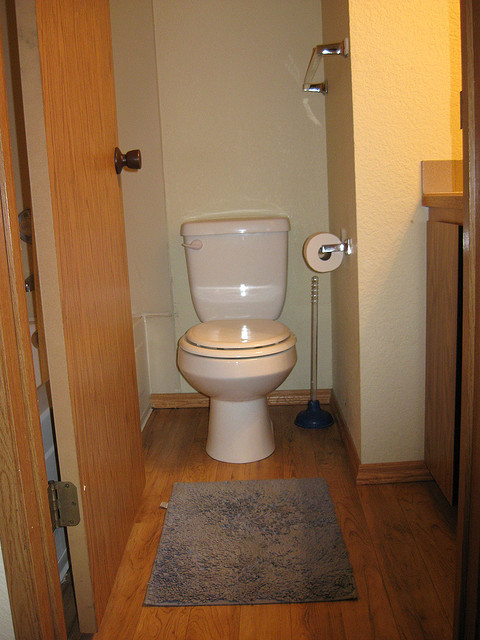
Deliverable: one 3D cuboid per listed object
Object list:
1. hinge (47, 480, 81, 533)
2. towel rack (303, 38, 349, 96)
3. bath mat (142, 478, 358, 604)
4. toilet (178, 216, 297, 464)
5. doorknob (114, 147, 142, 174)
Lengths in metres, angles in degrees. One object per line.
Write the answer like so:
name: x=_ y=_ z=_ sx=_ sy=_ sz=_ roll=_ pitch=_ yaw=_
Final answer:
hinge: x=-0.313 y=0.321 z=0.884 sx=0.059 sy=0.090 sz=0.017 roll=3 pitch=10 yaw=14
towel rack: x=0.251 y=-0.718 z=1.483 sx=0.095 sy=0.193 sz=0.133 roll=1 pitch=16 yaw=-4
bath mat: x=0.031 y=0.572 z=1.348 sx=0.485 sy=0.010 sz=0.676 roll=0 pitch=3 yaw=-2
toilet: x=-0.025 y=0.054 z=1.822 sx=0.431 sy=0.847 sz=0.588 roll=-2 pitch=8 yaw=3
doorknob: x=-0.289 y=-0.408 z=1.266 sx=0.066 sy=0.063 sz=0.117 roll=-5 pitch=9 yaw=-14
